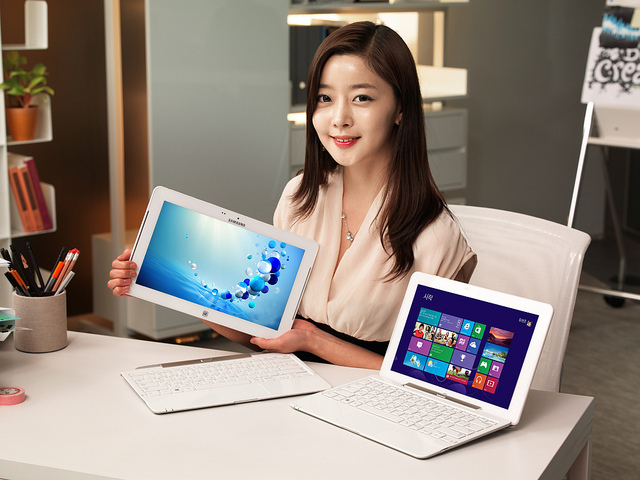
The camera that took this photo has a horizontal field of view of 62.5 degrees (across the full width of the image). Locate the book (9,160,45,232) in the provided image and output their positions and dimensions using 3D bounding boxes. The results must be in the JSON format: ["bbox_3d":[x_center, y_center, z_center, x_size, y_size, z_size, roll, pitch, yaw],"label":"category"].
[{"bbox_3d":[-1.321,-0.215,2.466,0.062,0.268,0.253,-22,18,-21],"label":"book"}]

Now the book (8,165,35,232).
[{"bbox_3d":[-1.375,-0.183,2.403,0.053,0.238,0.224,-9,2,-23],"label":"book"}]

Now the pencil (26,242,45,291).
[{"bbox_3d":[-0.982,0.078,1.818,0.018,0.181,0.019,0,26,26],"label":"pencil"}]

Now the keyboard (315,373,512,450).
[{"bbox_3d":[0.156,0.289,0.909,0.311,0.016,0.130,13,18,34],"label":"keyboard"}]

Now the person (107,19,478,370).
[{"bbox_3d":[-0.007,-0.102,1.295,0.712,0.785,0.620,8,16,13],"label":"person"}]

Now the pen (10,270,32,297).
[{"bbox_3d":[-0.623,0.087,1.099,0.010,0.059,0.008,-24,16,12],"label":"pen"}]

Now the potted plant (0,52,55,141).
[{"bbox_3d":[-1.297,-0.629,2.326,0.203,0.372,0.199,-7,17,-33],"label":"potted plant"}]

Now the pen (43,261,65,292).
[{"bbox_3d":[-0.738,0.098,1.454,0.022,0.123,0.020,26,8,-31],"label":"pen"}]

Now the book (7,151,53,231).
[{"bbox_3d":[-1.361,-0.223,2.456,0.157,0.292,0.273,-19,54,-21],"label":"book"}]

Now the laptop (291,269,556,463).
[{"bbox_3d":[0.176,0.195,0.913,0.414,0.220,0.434,3,2,20],"label":"laptop"}]

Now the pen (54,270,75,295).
[{"bbox_3d":[-0.553,0.092,1.152,0.017,0.072,0.012,35,3,39],"label":"pen"}]

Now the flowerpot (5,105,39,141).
[{"bbox_3d":[-1.321,-0.525,2.354,0.145,0.153,0.083,-9,19,-40],"label":"flowerpot"}]

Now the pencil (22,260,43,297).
[{"bbox_3d":[-0.677,0.089,1.239,0.012,0.115,0.012,-19,9,19],"label":"pencil"}]

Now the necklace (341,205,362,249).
[{"bbox_3d":[0.068,-0.035,1.318,0.032,0.093,0.057,-9,19,-39],"label":"necklace"}]
